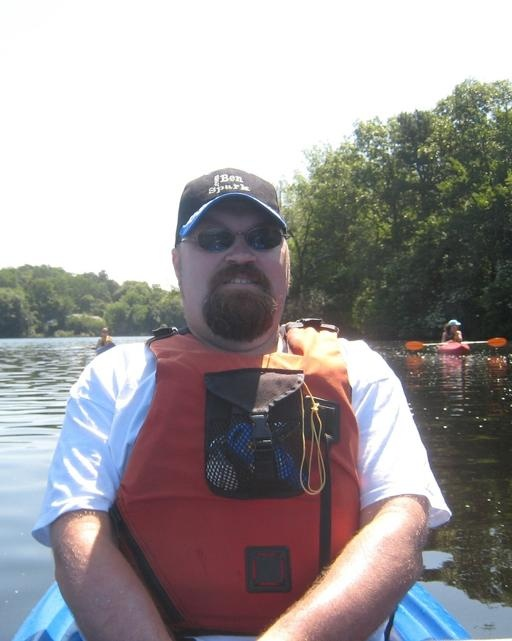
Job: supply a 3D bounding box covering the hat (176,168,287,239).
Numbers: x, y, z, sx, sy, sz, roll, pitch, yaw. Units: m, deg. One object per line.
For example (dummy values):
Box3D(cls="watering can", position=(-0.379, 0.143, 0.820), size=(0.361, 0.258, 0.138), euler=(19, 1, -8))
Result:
Box3D(cls="hat", position=(-0.093, -0.407, 2.290), size=(0.370, 0.253, 0.492), euler=(-3, -7, -4))
